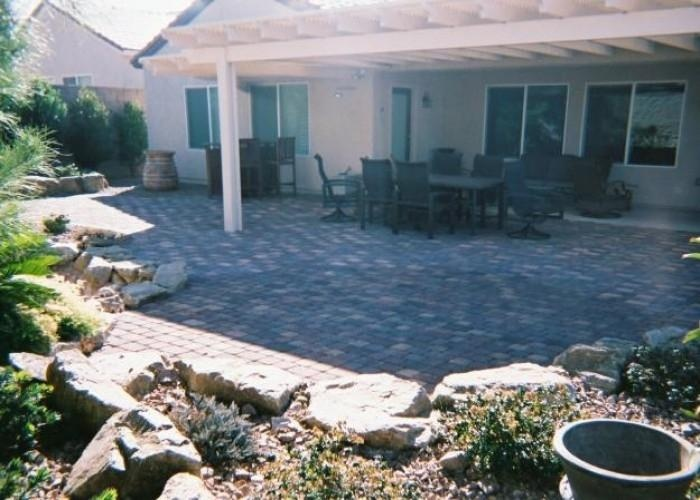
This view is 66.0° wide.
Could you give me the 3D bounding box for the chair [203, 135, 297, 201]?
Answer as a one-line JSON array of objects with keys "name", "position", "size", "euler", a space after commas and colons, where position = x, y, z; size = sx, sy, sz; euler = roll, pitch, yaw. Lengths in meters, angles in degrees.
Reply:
[{"name": "chair", "position": [-2.375, -2.042, 13.333], "size": [2.219, 1.449, 1.570], "euler": [-5, 12, -20]}]
